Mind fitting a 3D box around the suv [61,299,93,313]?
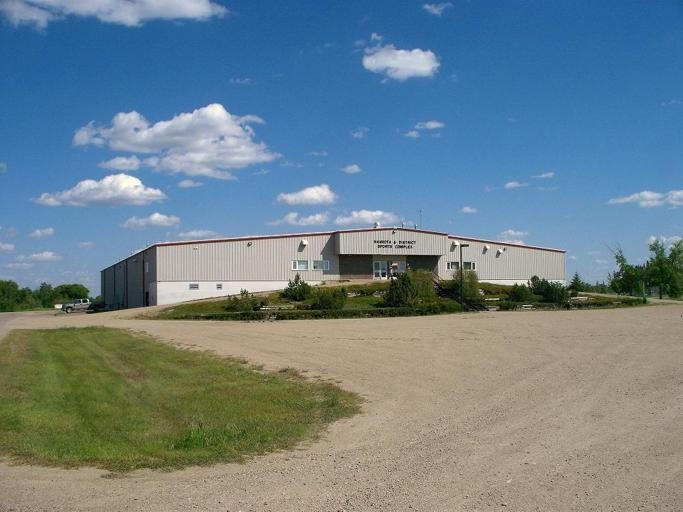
[{"bbox_3d":[-30.041,5.751,66.056,1.604,1.293,3.326,-5,-7,43],"label":"suv"}]
